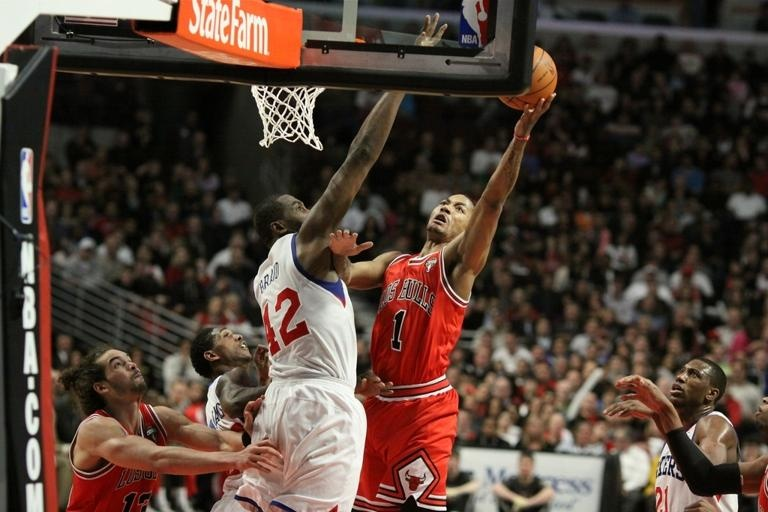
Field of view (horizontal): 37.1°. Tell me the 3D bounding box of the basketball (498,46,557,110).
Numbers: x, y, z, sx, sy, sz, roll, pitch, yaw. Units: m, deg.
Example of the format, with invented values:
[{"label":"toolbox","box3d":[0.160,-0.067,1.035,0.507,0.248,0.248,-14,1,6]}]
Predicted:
[{"label":"basketball","box3d":[1.342,-1.656,10.719,0.468,0.475,0.453,-23,-41,38]}]
